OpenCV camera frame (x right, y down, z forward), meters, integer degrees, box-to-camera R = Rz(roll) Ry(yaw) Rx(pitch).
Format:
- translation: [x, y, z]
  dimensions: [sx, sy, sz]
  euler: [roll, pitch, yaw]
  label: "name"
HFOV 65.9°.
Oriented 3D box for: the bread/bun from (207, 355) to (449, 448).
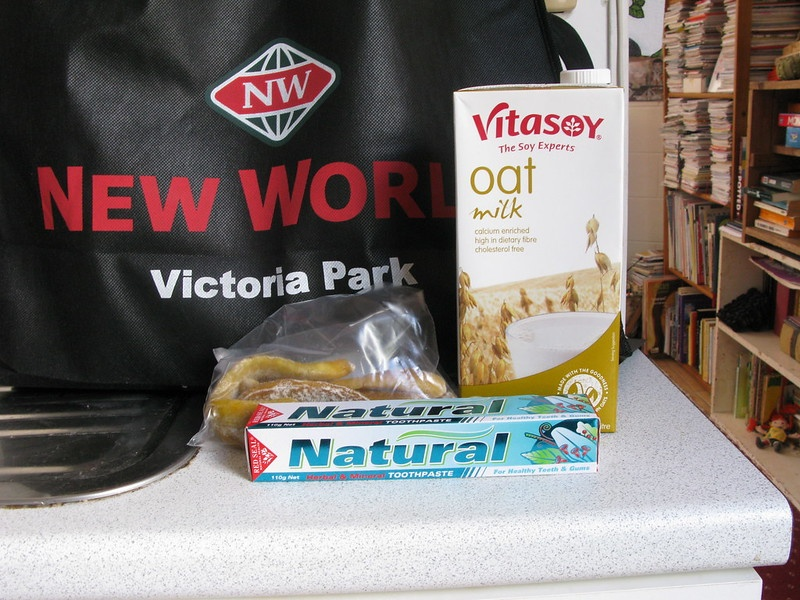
- translation: [-0.074, 0.116, 0.644]
  dimensions: [0.248, 0.064, 0.124]
  euler: [0, 7, -15]
  label: "bread/bun"
